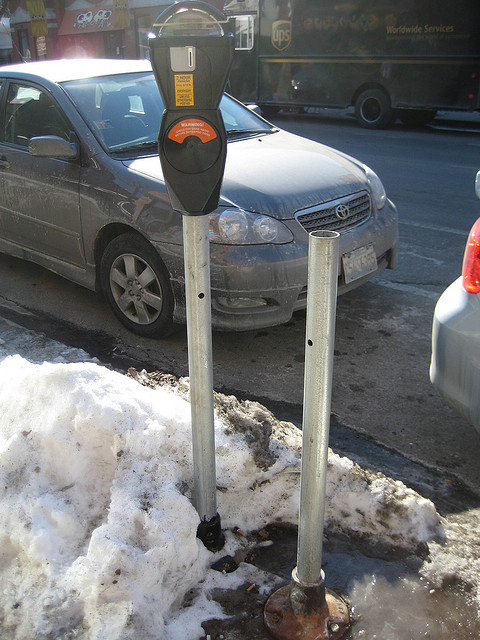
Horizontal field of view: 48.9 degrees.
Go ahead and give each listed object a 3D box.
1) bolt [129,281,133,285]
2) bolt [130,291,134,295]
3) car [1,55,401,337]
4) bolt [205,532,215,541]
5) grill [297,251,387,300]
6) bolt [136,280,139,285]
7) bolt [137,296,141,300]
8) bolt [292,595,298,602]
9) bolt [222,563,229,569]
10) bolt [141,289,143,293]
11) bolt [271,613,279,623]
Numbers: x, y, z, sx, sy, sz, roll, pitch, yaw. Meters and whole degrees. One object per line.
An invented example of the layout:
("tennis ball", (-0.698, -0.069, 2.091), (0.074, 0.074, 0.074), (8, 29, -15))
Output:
("bolt", (-0.712, -0.233, 3.422), (0.019, 0.018, 0.019), (0, 10, -1))
("bolt", (-0.709, -0.172, 3.440), (0.017, 0.016, 0.016), (-5, -5, -1))
("car", (-0.582, -0.926, 3.905), (3.063, 1.319, 1.776), (18, 34, 34))
("bolt", (-0.096, 0.680, 1.667), (0.031, 0.037, 0.003), (-10, 27, -17))
("grill", (0.692, -0.304, 3.374), (0.089, 0.111, 0.994), (20, 33, 37))
("bolt", (-0.660, -0.237, 3.374), (0.025, 0.024, 0.008), (10, 8, 38))
("bolt", (-0.656, -0.139, 3.400), (0.019, 0.019, 0.005), (2, 7, 21))
("bolt", (0.146, 0.741, 1.407), (0.011, 0.015, 0.007), (-2, 7, 34))
("bolt", (-0.046, 0.767, 1.651), (0.011, 0.010, 0.007), (1, 6, -1))
("bolt", (-0.630, -0.182, 3.362), (0.007, 0.023, 0.024), (2, 13, 10))
("bolt", (0.097, 0.812, 1.445), (0.021, 0.007, 0.030), (3, 26, 10))
